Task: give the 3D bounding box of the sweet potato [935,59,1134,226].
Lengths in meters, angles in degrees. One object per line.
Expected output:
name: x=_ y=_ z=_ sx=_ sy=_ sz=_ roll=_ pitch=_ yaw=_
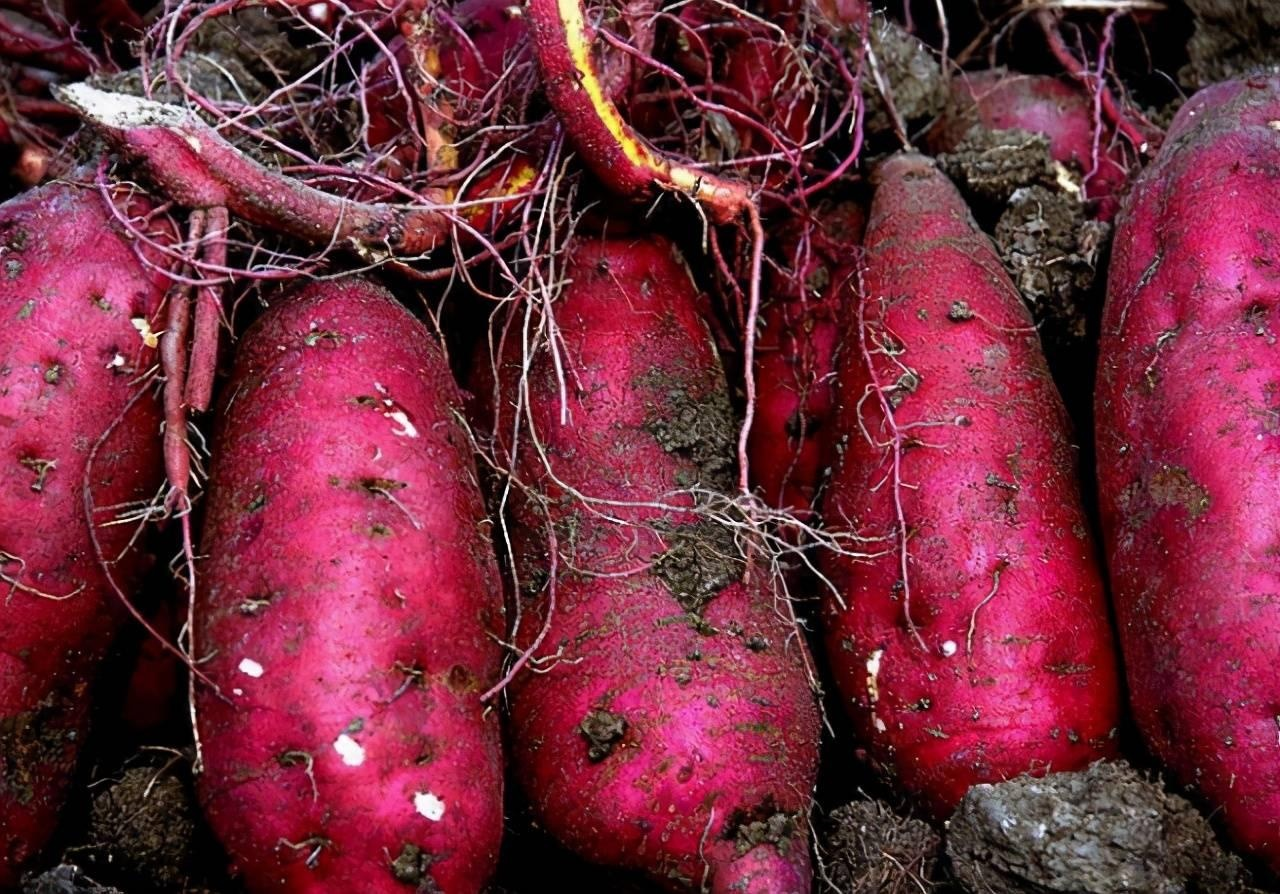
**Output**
sweet potato: x=0.789 y=-0.574 z=2.522 sx=0.266 sy=0.120 sz=0.337 roll=-38 pitch=58 yaw=-15
